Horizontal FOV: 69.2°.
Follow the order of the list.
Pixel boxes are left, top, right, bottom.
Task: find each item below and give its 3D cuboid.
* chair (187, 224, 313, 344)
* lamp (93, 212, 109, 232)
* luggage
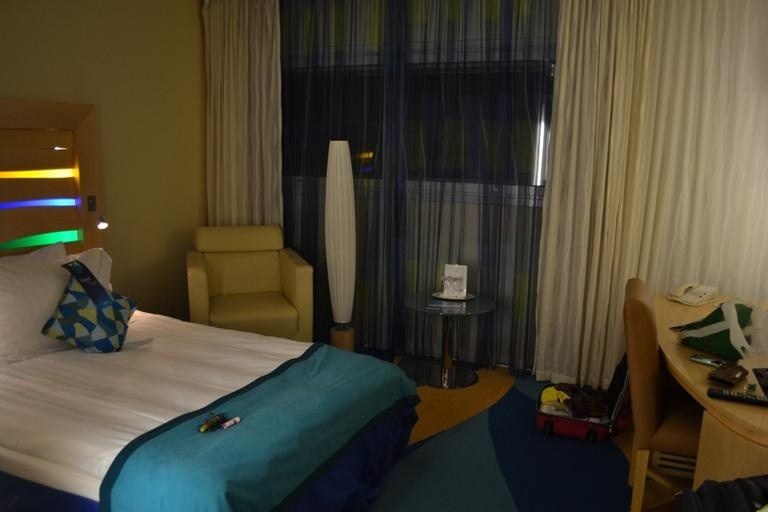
[{"bbox_3d":[-1.258,0.348,5.048,1.098,1.156,1.100,-1,12,-16],"label":"chair"},{"bbox_3d":[-2.340,-0.282,4.582,0.132,0.159,0.093,4,22,38],"label":"lamp"},{"bbox_3d":[1.476,0.958,4.104,0.624,0.748,0.490,5,27,21],"label":"luggage"}]
